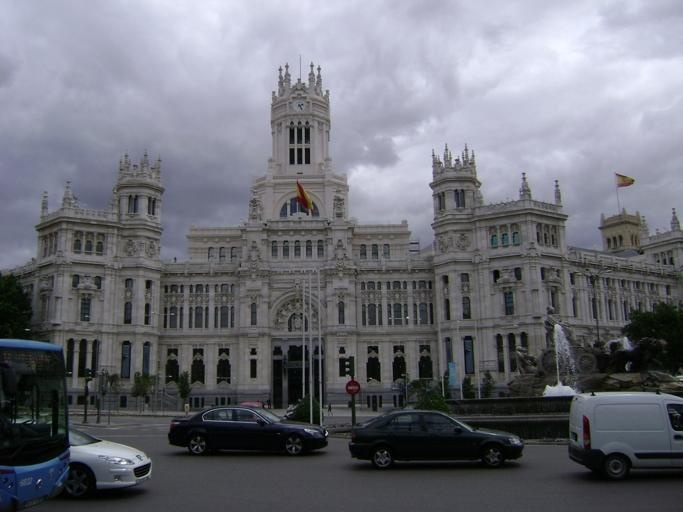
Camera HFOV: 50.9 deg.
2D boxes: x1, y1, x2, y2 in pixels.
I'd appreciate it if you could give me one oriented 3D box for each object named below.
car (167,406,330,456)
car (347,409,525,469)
[{"bbox_3d":[-3.946,7.177,29.299,5.954,1.641,2.406,-1,-14,2],"label":"car"},{"bbox_3d":[3.539,6.803,26.575,5.962,1.831,2.432,-3,-12,5],"label":"car"}]
